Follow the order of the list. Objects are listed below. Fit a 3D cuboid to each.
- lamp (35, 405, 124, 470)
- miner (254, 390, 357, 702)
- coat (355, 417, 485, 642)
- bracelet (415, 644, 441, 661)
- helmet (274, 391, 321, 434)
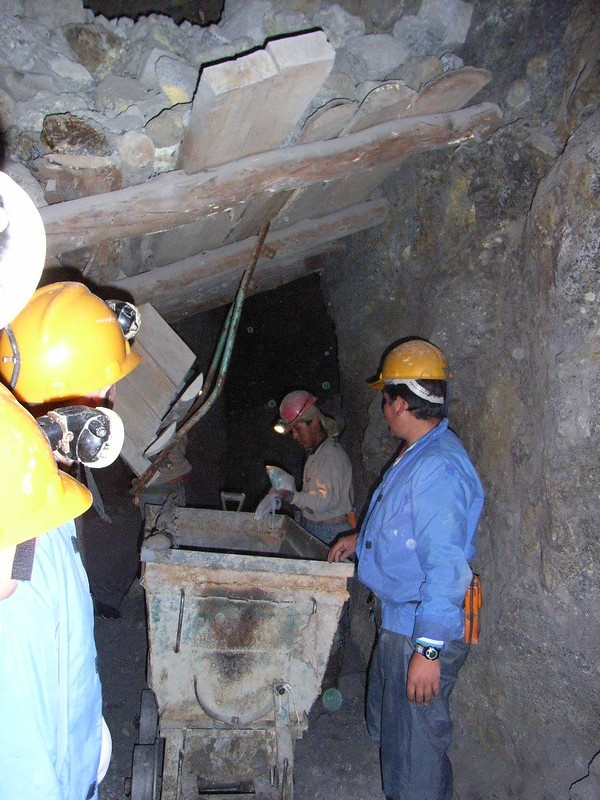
[{"bbox_3d":[-0.686,0.123,2.159,0.155,0.168,0.288,-7,-7,42],"label":"lamp"},{"bbox_3d":[0.105,0.976,5.149,0.757,2.070,0.612,3,12,22],"label":"miner"},{"bbox_3d":[0.564,0.667,3.209,0.424,0.995,0.784,9,14,-14],"label":"coat"},{"bbox_3d":[0.508,0.991,2.887,0.078,0.059,0.087,-2,-21,30],"label":"bracelet"},{"bbox_3d":[-0.034,0.123,4.968,0.153,0.296,0.210,39,4,-25],"label":"helmet"}]
